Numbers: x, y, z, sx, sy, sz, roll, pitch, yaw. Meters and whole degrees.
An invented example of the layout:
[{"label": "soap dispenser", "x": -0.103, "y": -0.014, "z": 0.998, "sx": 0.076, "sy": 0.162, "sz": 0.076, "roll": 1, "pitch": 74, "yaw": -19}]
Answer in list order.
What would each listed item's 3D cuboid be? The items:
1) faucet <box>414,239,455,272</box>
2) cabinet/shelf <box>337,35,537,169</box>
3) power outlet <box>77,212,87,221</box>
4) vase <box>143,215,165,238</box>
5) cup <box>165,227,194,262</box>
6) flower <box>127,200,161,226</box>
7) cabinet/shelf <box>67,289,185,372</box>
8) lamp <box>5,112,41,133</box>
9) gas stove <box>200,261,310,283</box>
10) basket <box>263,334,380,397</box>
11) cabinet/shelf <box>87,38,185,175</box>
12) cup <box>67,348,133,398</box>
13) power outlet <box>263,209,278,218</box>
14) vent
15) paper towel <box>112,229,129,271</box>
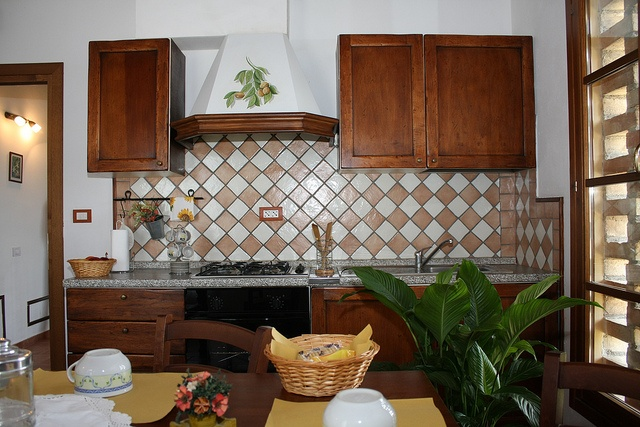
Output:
[{"label": "faucet", "x": 0.916, "y": 0.338, "z": 3.974, "sx": 0.307, "sy": 0.274, "sz": 0.255, "roll": -4, "pitch": -13, "yaw": 14}, {"label": "cabinet/shelf", "x": 0.843, "y": -0.831, "z": 3.771, "sx": 0.979, "sy": 0.665, "sz": 0.353, "roll": 0, "pitch": 0, "yaw": -1}, {"label": "power outlet", "x": -1.929, "y": 0.023, "z": 4.042, "sx": 0.092, "sy": 0.068, "sz": 0.049, "roll": 0, "pitch": -3, "yaw": -7}, {"label": "vase", "x": -1.280, "y": 0.112, "z": 3.966, "sx": 0.162, "sy": 0.189, "sz": 0.164, "roll": -13, "pitch": 10, "yaw": -3}, {"label": "cup", "x": -1.090, "y": 0.243, "z": 3.897, "sx": 0.265, "sy": 0.375, "sz": 0.157, "roll": 0, "pitch": -2, "yaw": 0}, {"label": "flower", "x": -1.407, "y": 0.002, "z": 3.992, "sx": 0.217, "sy": 0.194, "sz": 0.217, "roll": -4, "pitch": -9, "yaw": -37}, {"label": "cabinet/shelf", "x": -1.485, "y": 1.000, "z": 3.704, "sx": 0.805, "sy": 0.774, "sz": 0.465, "roll": 7, "pitch": -29, "yaw": -29}, {"label": "lamp", "x": -3.220, "y": -0.998, "z": 5.404, "sx": 0.116, "sy": 0.160, "sz": 0.438, "roll": -12, "pitch": -4, "yaw": 25}, {"label": "gas stove", "x": -0.505, "y": 0.443, "z": 3.789, "sx": 0.825, "sy": 0.244, "sz": 0.536, "roll": 0, "pitch": -13, "yaw": -2}, {"label": "basket", "x": 0.005, "y": 0.677, "z": 2.210, "sx": 0.495, "sy": 0.261, "sz": 0.263, "roll": 1, "pitch": -13, "yaw": -6}, {"label": "cabinet/shelf", "x": -1.431, "y": -0.836, "z": 4.041, "sx": 0.680, "sy": 0.968, "sz": 0.578, "roll": 2, "pitch": 7, "yaw": 0}, {"label": "cup", "x": -0.949, "y": 0.685, "z": 2.174, "sx": 0.237, "sy": 0.143, "sz": 0.185, "roll": -1, "pitch": -1, "yaw": -1}, {"label": "power outlet", "x": -0.401, "y": 0.006, "z": 4.077, "sx": 0.098, "sy": 0.064, "sz": 0.023, "roll": 3, "pitch": -4, "yaw": 1}, {"label": "vent", "x": -0.501, "y": -0.655, "z": 3.735, "sx": 1.271, "sy": 0.126, "sz": 0.241, "roll": -1, "pitch": -13, "yaw": 1}, {"label": "paper towel", "x": -1.549, "y": 0.294, "z": 3.861, "sx": 0.149, "sy": 0.322, "sz": 0.144, "roll": 4, "pitch": -13, "yaw": -20}]
